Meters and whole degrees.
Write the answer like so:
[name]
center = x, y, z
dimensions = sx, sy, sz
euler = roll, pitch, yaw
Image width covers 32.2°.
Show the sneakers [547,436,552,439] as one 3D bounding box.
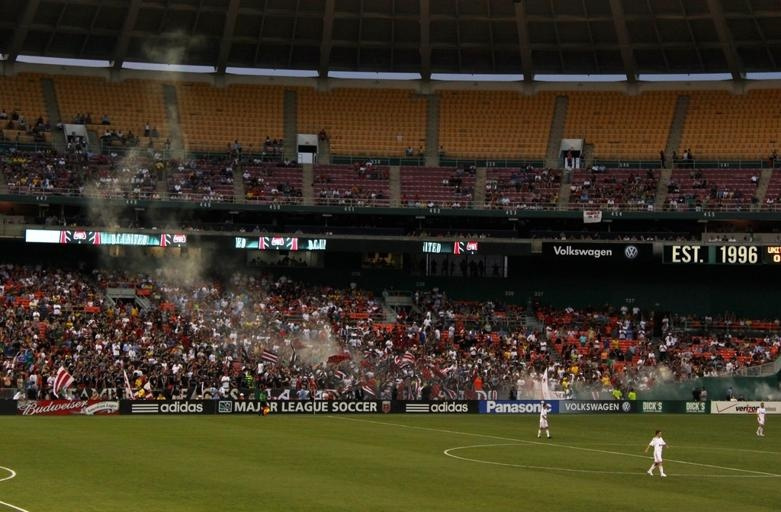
[sneakers]
center = 11.315, 13.087, 97.015
dimensions = 0.152, 0.141, 0.447
euler = 1, -2, 0
